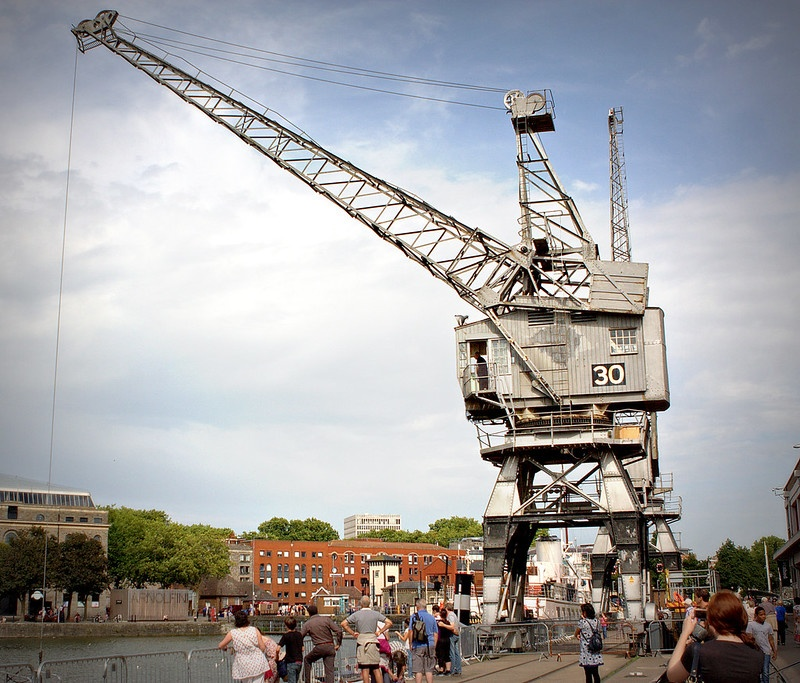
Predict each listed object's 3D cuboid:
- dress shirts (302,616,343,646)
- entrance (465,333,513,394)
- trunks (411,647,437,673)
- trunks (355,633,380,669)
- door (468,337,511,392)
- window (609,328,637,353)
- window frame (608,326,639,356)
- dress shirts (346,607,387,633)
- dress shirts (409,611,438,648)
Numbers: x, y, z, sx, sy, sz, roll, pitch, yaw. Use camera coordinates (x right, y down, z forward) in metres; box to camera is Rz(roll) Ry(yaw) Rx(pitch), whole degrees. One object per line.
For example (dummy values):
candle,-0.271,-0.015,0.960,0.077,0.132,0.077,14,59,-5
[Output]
dress shirts,-2.174,7.746,29.655,1.046,0.797,0.642,3,-14,-19
entrance,4.306,1.133,52.207,0.356,2.801,2.356,13,-20,-42
trunks,0.722,9.322,32.285,0.708,0.775,0.608,1,-13,-10
trunks,-0.855,8.489,30.218,0.616,0.944,0.565,-1,-13,-2
door,4.321,1.159,52.202,2.172,2.903,0.386,-10,-12,39
window,10.285,0.002,50.309,1.072,1.043,0.071,-4,-4,19
window frame,10.317,0.039,50.287,1.255,1.239,0.082,-4,-3,20
dress shirts,-0.950,7.691,30.315,0.974,0.670,0.665,-12,-17,39
dress shirts,0.714,8.509,32.559,0.718,0.978,1.006,2,-34,1
